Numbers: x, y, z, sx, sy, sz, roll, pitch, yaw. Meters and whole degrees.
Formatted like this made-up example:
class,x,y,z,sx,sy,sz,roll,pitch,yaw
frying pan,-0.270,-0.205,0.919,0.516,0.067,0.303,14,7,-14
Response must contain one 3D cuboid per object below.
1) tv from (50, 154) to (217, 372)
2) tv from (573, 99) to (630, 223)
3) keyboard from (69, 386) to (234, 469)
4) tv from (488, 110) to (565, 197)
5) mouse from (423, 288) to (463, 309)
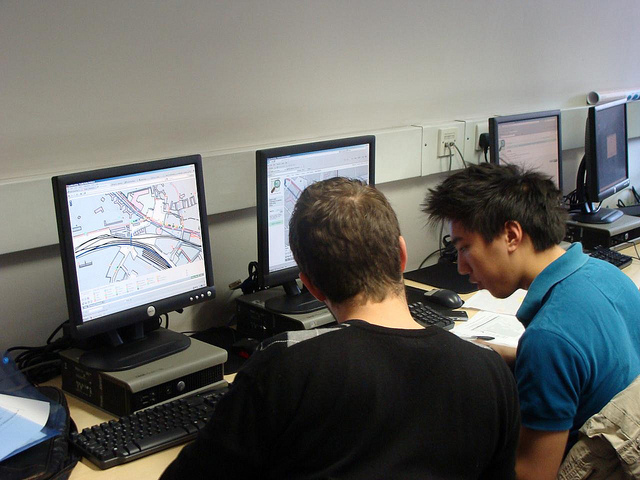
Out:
class,x,y,z,sx,sy,sz,roll,pitch,yaw
tv,-0.568,0.073,1.442,0.320,0.667,0.554,9,13,39
tv,1.595,-0.451,2.825,0.610,0.648,0.237,-15,11,-42
keyboard,-0.483,0.509,1.294,0.155,0.042,0.405,16,-3,19
tv,0.909,-0.393,2.145,0.520,0.551,0.055,-2,2,-35
mouse,0.511,0.233,1.979,0.068,0.041,0.132,-8,16,-37
